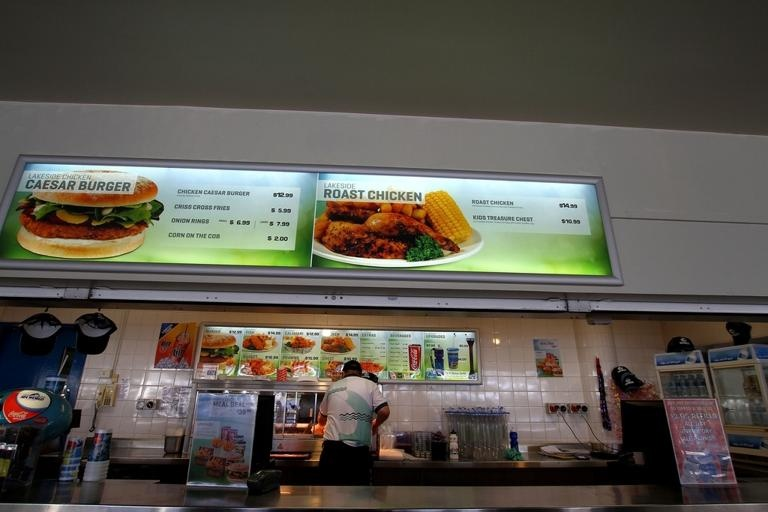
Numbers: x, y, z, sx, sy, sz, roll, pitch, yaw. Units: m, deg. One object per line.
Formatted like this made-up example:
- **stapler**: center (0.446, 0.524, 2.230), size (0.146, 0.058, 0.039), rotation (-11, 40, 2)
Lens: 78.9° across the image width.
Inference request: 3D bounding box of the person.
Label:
- **person**: center (-0.240, 1.310, 3.796), size (0.632, 0.880, 0.471), rotation (6, -8, -6)

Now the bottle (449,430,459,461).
- **bottle**: center (0.708, 1.984, 4.833), size (0.092, 0.245, 0.155), rotation (1, -1, 5)
